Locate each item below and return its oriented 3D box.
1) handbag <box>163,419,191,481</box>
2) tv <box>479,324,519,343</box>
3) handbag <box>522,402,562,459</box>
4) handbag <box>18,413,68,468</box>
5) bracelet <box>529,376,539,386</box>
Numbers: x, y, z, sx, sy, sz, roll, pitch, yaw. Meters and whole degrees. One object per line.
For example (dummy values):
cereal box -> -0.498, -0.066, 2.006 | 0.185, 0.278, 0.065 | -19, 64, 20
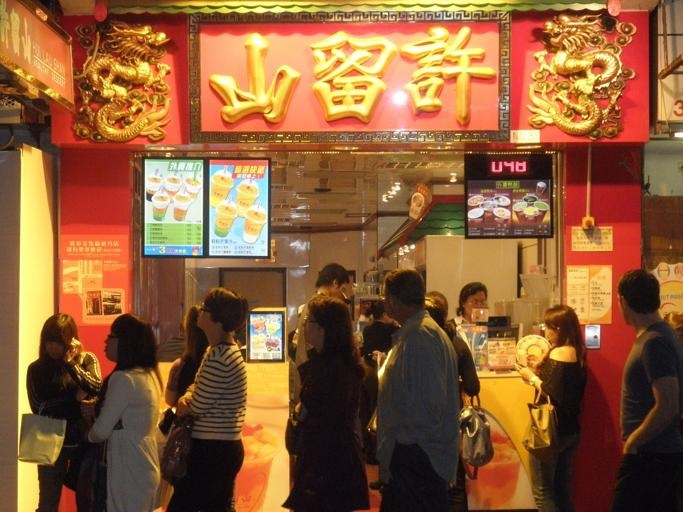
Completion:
handbag -> -1.096, 1.276, 4.533 | 0.189, 0.390, 0.107 | 0, -2, -15
tv -> 1.462, 0.701, 6.214 | 0.212, 0.165, 0.155 | -1, -22, -1
handbag -> 1.595, 1.349, 5.407 | 0.232, 0.447, 0.322 | 27, -33, -37
handbag -> -2.177, 1.345, 5.001 | 0.343, 0.382, 0.139 | 8, -13, -5
bracelet -> 1.585, 1.025, 5.584 | 0.080, 0.052, 0.081 | 48, 5, 34
